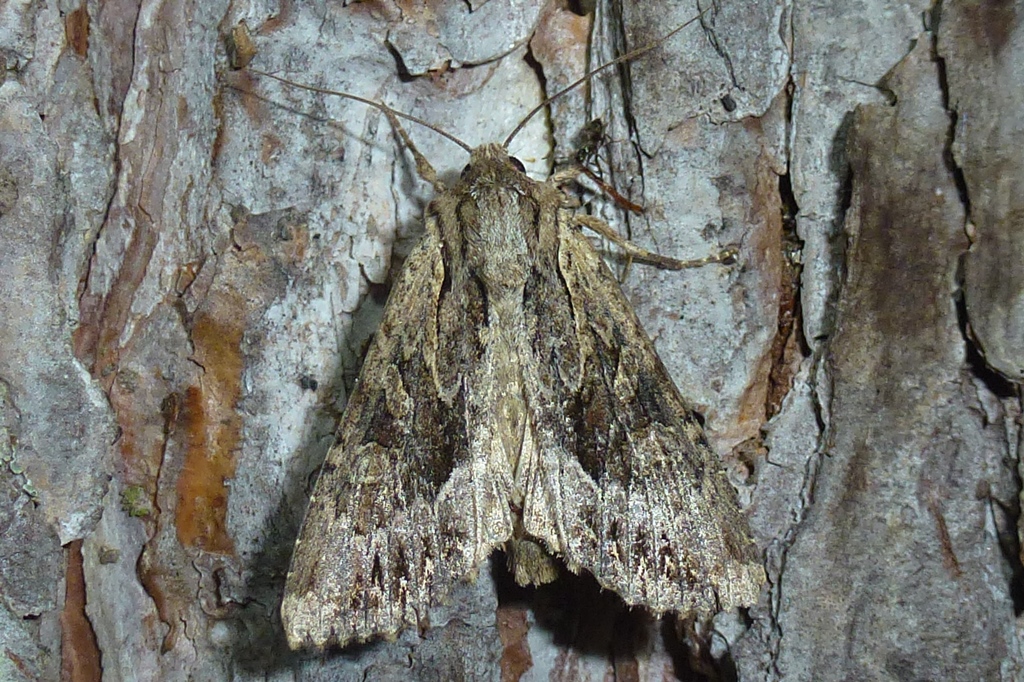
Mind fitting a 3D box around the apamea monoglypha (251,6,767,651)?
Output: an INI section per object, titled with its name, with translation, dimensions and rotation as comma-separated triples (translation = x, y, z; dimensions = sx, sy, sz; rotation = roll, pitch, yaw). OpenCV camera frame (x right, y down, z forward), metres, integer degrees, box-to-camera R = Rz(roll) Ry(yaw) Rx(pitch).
[apamea monoglypha]
translation = -0.001, 0.219, 6.658
dimensions = 1.372, 2.216, 0.579
rotation = -6, -9, 9
